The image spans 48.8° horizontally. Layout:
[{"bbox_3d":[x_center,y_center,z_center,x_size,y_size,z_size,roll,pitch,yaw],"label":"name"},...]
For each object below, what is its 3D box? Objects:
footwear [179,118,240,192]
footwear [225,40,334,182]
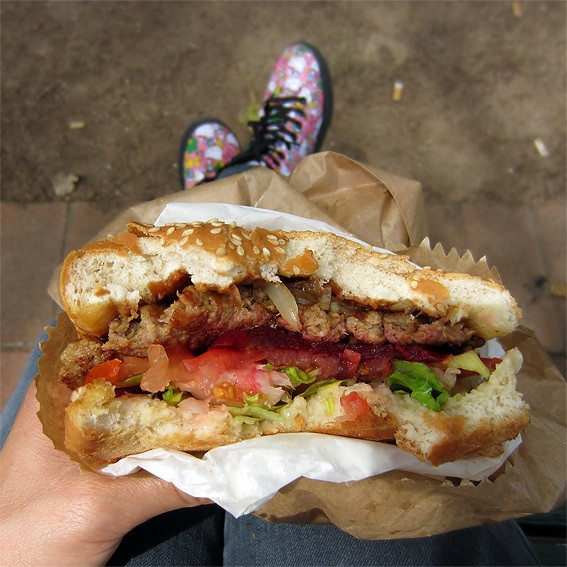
[{"bbox_3d":[-0.544,-0.894,4.437,0.354,0.212,0.568,6,101,-3],"label":"footwear"},{"bbox_3d":[0.064,-1.231,4.428,0.444,0.557,1.248,24,105,11],"label":"footwear"}]
